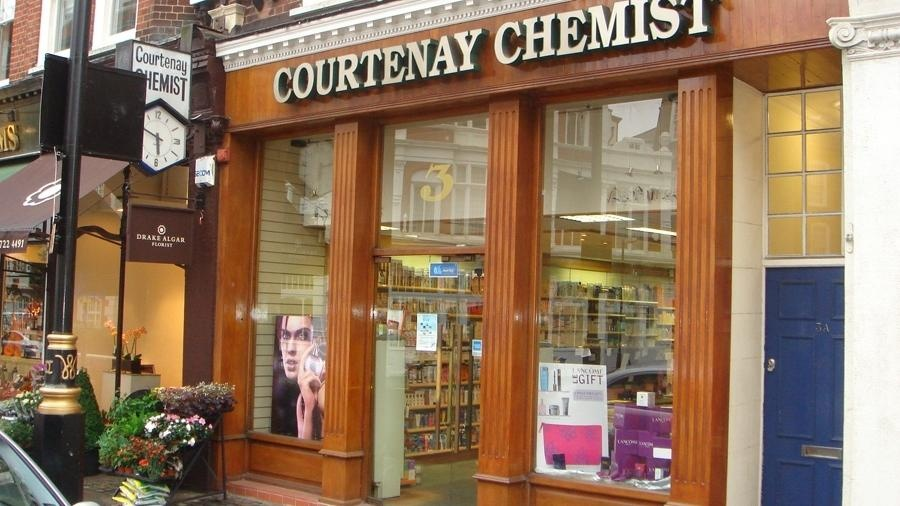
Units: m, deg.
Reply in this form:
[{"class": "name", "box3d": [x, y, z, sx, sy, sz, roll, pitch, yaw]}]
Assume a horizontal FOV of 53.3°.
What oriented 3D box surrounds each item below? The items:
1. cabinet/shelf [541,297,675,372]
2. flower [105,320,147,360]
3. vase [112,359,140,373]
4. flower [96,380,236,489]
[{"class": "cabinet/shelf", "box3d": [2.388, 1.179, 12.881, 1.123, 0.974, 0.362, 1, 0, 21]}, {"class": "flower", "box3d": [-6.438, 1.783, 17.722, 0.653, 0.633, 0.622, 3, -16, -30]}, {"class": "vase", "box3d": [-6.140, 2.167, 17.189, 0.387, 0.267, 0.245, 2, -7, -8]}, {"class": "flower", "box3d": [-4.795, 2.770, 14.102, 1.727, 0.739, 1.653, 1, 5, 37]}]
